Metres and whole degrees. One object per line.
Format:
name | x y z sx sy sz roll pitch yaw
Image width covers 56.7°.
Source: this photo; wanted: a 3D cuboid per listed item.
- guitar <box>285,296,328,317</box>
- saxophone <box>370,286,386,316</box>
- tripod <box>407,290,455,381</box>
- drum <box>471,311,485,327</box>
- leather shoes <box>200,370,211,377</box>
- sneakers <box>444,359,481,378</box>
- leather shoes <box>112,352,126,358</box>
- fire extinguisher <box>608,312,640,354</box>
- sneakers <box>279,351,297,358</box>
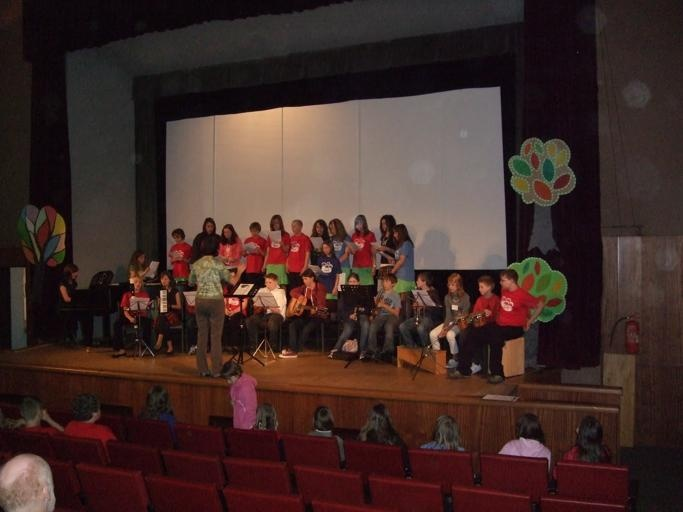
guitar | -0.500 0.767 9.451 0.599 0.305 0.223 0 -3 26
saxophone | 0.525 0.654 9.053 0.091 0.362 0.236 3 13 13
tripod | 1.265 0.988 8.472 0.604 1.153 0.850 1 -3 7
drum | 1.729 0.808 8.014 0.159 0.162 0.131 3 1 41
leather shoes | -1.721 1.488 8.085 0.058 0.080 0.168 1 1 21
sneakers | 1.608 1.435 8.128 0.505 0.252 0.198 2 -6 -13
leather shoes | -3.307 1.469 9.462 0.145 0.066 0.082 9 -9 -32
fire extinguisher | 3.806 1.048 8.560 0.398 0.514 0.276 0 -4 31
sneakers | -0.768 1.445 9.312 0.189 0.089 0.114 5 -8 -20
